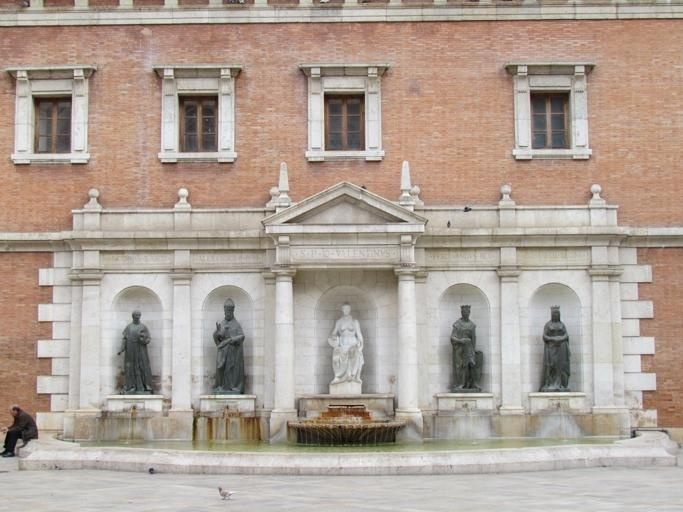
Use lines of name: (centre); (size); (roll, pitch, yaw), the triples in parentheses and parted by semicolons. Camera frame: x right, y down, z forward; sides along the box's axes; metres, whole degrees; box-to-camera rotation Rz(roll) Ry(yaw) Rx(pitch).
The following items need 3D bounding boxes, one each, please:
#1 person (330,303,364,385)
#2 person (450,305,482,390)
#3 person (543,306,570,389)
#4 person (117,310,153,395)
person: (0.111, 2.709, 51.346); (0.879, 2.393, 0.756); (0, -6, -6)
person: (3.700, 2.867, 51.391); (1.194, 2.472, 0.720); (2, -2, -13)
person: (6.264, 2.836, 51.284); (0.841, 2.536, 0.608); (-1, -8, 6)
person: (-6.068, 2.912, 51.486); (0.830, 2.570, 0.807); (-1, -6, -26)
